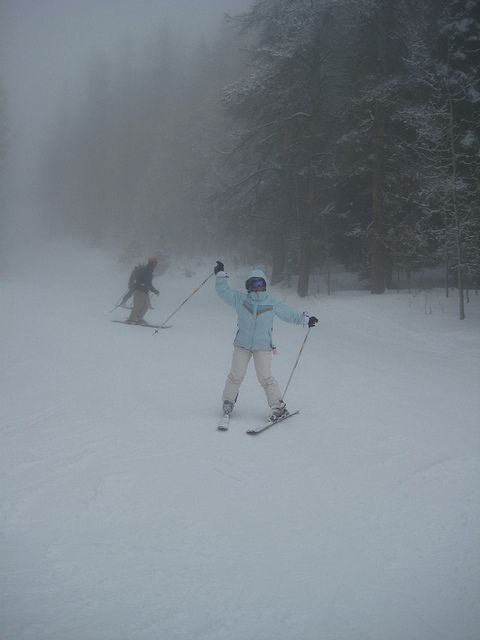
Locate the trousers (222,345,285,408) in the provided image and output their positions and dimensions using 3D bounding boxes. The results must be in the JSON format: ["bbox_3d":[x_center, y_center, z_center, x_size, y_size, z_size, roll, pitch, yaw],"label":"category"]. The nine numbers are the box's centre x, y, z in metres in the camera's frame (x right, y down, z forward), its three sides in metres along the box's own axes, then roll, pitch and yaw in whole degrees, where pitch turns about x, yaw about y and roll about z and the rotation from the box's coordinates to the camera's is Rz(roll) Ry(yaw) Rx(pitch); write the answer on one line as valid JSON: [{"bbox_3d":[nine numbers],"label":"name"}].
[{"bbox_3d":[0.136,0.524,7.576,0.700,1.132,0.339,2,36,6],"label":"trousers"}]

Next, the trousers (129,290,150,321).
[{"bbox_3d":[-2.134,-0.334,14.156,0.213,0.774,0.335,9,23,5],"label":"trousers"}]

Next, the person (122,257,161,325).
[{"bbox_3d":[-2.363,-0.683,16.087,0.950,2.389,0.843,-2,39,-17],"label":"person"}]

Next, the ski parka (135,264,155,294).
[{"bbox_3d":[-2.006,-0.876,13.935,0.402,0.638,0.243,-2,9,-8],"label":"ski parka"}]

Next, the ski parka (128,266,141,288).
[{"bbox_3d":[-2.219,-0.929,13.955,0.104,0.447,0.234,19,-15,-32],"label":"ski parka"}]
